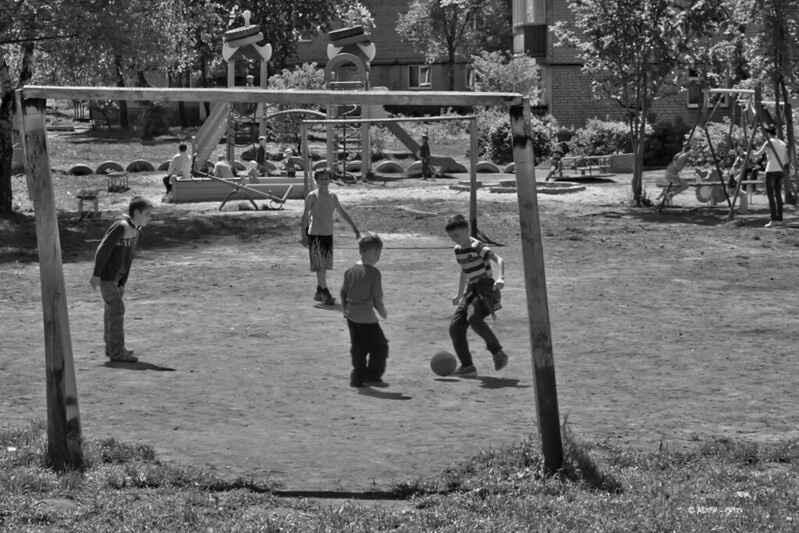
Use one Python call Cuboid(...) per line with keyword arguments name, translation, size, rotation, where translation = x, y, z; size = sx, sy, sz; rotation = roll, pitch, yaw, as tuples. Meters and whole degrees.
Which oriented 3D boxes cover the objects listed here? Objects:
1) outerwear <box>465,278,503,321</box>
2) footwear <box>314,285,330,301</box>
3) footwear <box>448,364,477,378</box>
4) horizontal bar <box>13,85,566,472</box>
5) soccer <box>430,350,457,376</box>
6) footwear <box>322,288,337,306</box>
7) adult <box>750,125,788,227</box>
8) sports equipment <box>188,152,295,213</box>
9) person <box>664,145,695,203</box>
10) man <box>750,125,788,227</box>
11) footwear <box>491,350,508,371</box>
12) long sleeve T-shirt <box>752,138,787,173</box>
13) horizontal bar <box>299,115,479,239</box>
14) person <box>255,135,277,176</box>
Cuboid(name="outerwear", translation=(1.372, 0.527, 25.784), size=(0.700, 0.689, 0.434), rotation=(1, 13, 29))
Cuboid(name="footwear", translation=(-1.462, 0.510, 29.032), size=(0.354, 0.326, 0.172), rotation=(6, 10, 7))
Cuboid(name="footwear", translation=(1.060, 1.747, 25.812), size=(0.428, 0.184, 0.169), rotation=(3, -2, -2))
Cuboid(name="horizontal bar", translation=(-1.753, -0.021, 23.926), size=(8.168, 5.885, 0.483), rotation=(2, 22, 12))
Cuboid(name="soccer", translation=(0.728, 1.603, 25.694), size=(0.425, 0.400, 0.395), rotation=(-2, -6, 6))
Cuboid(name="footwear", translation=(-1.348, 0.581, 28.945), size=(0.376, 0.346, 0.181), rotation=(-1, 0, 28))
Cuboid(name="adult", translation=(8.694, -2.156, 36.514), size=(1.051, 2.360, 0.743), rotation=(0, 0, -42))
Cuboid(name="sports equipment", translation=(-4.599, -2.283, 41.435), size=(3.806, 1.891, 1.418), rotation=(4, 6, 7))
Cuboid(name="person", translation=(7.123, -2.345, 39.664), size=(0.753, 1.510, 0.691), rotation=(5, -5, 20))
Cuboid(name="man", translation=(8.728, -2.155, 36.556), size=(1.054, 2.394, 0.757), rotation=(4, -3, -36))
Cuboid(name="footwear", translation=(1.683, 1.603, 25.870), size=(0.156, 0.345, 0.193), rotation=(37, -43, -28))
Cuboid(name="long sleeve T-shirt", translation=(8.756, -2.628, 36.309), size=(0.659, 0.826, 0.978), rotation=(2, 7, 12))
Cuboid(name="horizontal bar", translation=(-0.338, -2.474, 42.488), size=(5.732, 3.515, 0.386), rotation=(5, 25, 23))
Cuboid(name="person", translation=(-4.267, -3.501, 49.557), size=(0.801, 1.372, 0.594), rotation=(3, 23, 20))
